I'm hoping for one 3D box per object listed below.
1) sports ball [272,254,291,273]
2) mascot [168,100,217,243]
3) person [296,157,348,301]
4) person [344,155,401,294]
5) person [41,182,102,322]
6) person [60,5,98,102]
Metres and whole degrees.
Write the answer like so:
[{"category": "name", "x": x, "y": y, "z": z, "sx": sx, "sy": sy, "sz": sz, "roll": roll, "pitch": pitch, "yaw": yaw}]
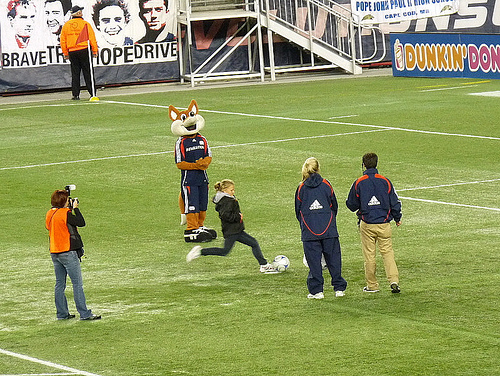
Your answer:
[{"category": "sports ball", "x": 0.486, "y": 1.245, "z": 17.946, "sx": 0.254, "sy": 0.265, "sz": 0.282, "roll": 2, "pitch": 2, "yaw": -21}, {"category": "mascot", "x": -1.032, "y": -0.294, "z": 19.823, "sx": 0.668, "sy": 2.508, "sz": 0.987, "roll": -5, "pitch": 5, "yaw": -4}, {"category": "person", "x": 1.053, "y": 0.628, "z": 16.788, "sx": 0.668, "sy": 2.153, "sz": 0.356, "roll": -5, "pitch": 5, "yaw": 0}, {"category": "person", "x": 1.897, "y": 0.555, "z": 16.842, "sx": 0.804, "sy": 2.118, "sz": 0.320, "roll": -4, "pitch": 5, "yaw": 6}, {"category": "person", "x": -2.676, "y": 0.976, "z": 16.247, "sx": 0.594, "sy": 2.023, "sz": 0.442, "roll": -6, "pitch": 5, "yaw": -11}, {"category": "person", "x": -5.680, "y": -4.339, "z": 36.651, "sx": 1.168, "sy": 2.910, "sz": 1.077, "roll": -1, "pitch": 6, "yaw": 34}]
